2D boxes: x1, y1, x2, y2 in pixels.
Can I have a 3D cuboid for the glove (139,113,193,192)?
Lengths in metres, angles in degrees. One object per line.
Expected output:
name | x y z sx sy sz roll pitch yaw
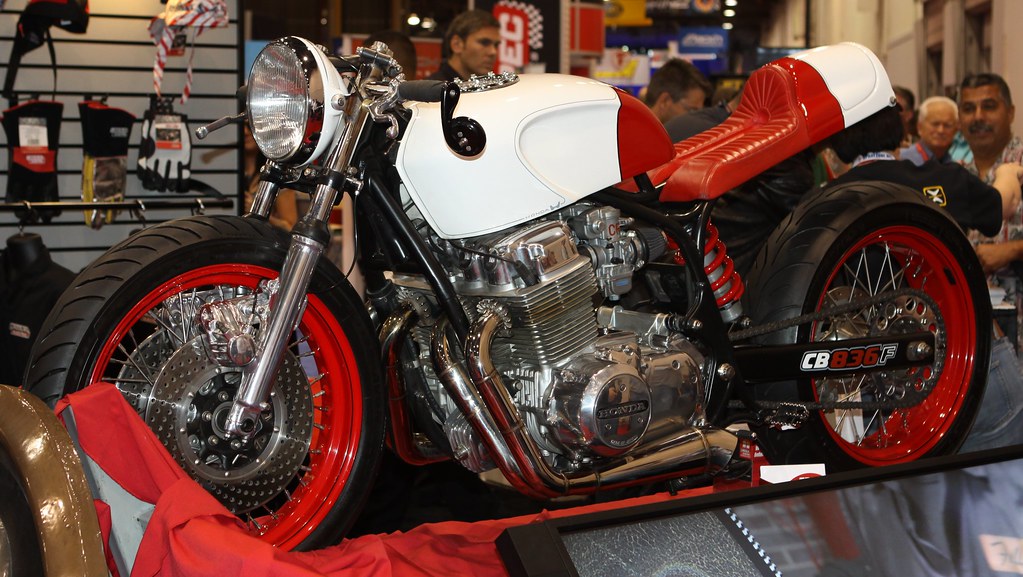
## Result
glove | -1.746 -0.670 4.485 0.265 0.389 0.114 3 -2 -14
